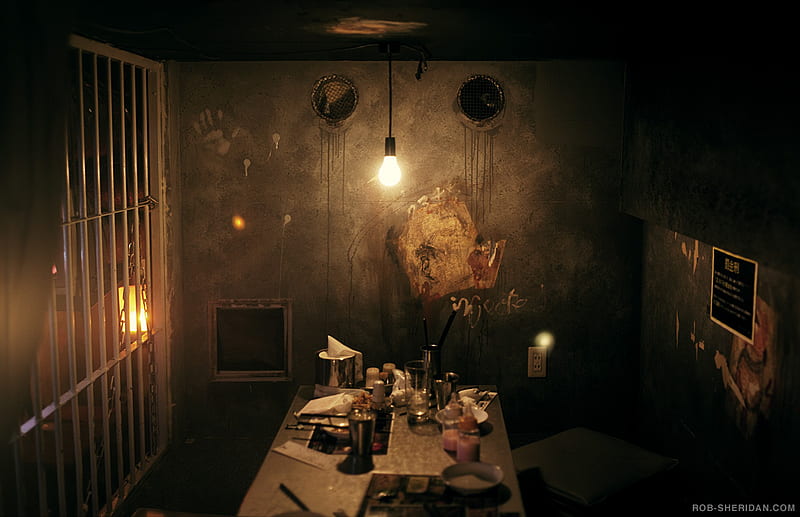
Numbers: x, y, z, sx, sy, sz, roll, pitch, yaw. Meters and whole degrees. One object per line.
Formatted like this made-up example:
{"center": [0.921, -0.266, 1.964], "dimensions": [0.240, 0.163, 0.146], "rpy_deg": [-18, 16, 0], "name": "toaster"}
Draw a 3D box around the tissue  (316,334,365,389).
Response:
{"center": [-0.385, 0.679, 3.854], "dimensions": [0.224, 0.350, 0.354], "rpy_deg": [1, -1, -3], "name": "tissue "}
